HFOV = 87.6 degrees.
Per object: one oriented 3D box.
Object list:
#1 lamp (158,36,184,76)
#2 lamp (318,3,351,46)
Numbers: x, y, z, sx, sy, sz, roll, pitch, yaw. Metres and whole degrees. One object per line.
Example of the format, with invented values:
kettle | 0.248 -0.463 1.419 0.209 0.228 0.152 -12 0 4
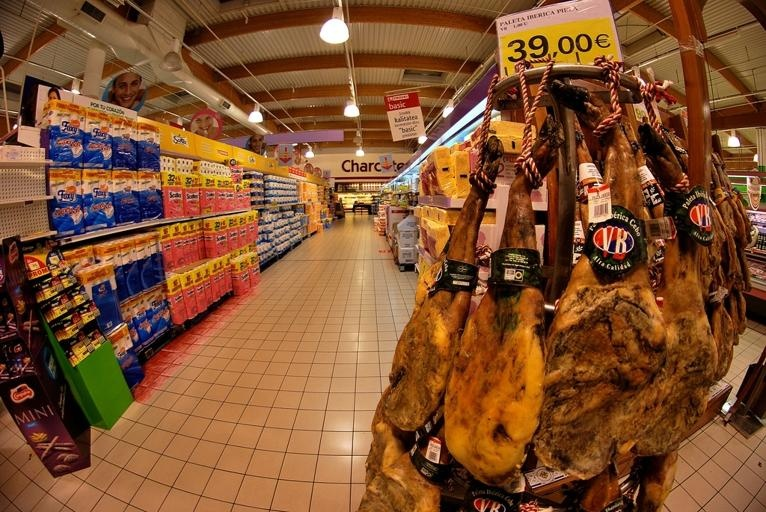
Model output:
lamp | -3.175 -3.031 5.986 0.298 0.513 0.431 -5 12 -24
lamp | -0.585 -2.744 4.712 0.295 0.453 0.407 -3 11 -10
